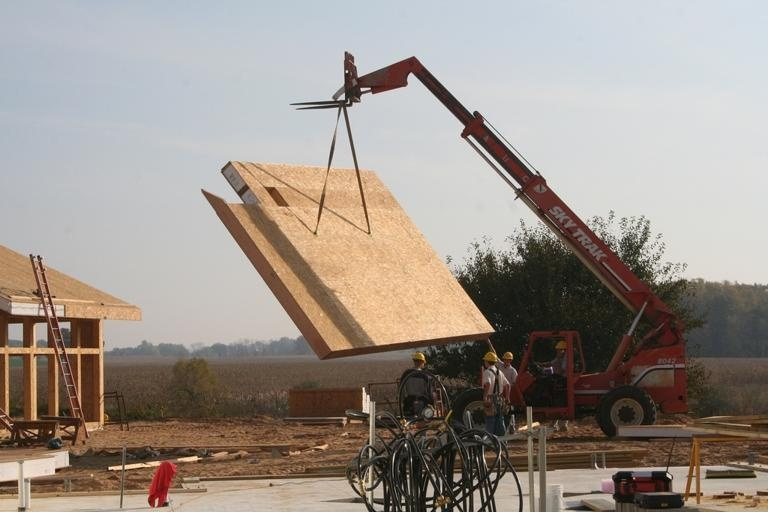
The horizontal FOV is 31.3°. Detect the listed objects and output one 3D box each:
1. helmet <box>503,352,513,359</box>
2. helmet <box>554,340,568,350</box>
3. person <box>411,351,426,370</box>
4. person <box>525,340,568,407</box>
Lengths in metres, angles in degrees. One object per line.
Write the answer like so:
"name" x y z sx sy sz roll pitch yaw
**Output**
"helmet" 3.947 3.180 43.415 0.383 0.216 0.476 2 1 0
"helmet" 5.712 2.862 43.862 0.322 0.168 0.234 7 0 -45
"person" 1.049 3.086 40.695 0.331 0.587 0.887 -6 -11 0
"person" 5.297 3.828 43.973 1.371 2.025 0.796 -7 -10 9
